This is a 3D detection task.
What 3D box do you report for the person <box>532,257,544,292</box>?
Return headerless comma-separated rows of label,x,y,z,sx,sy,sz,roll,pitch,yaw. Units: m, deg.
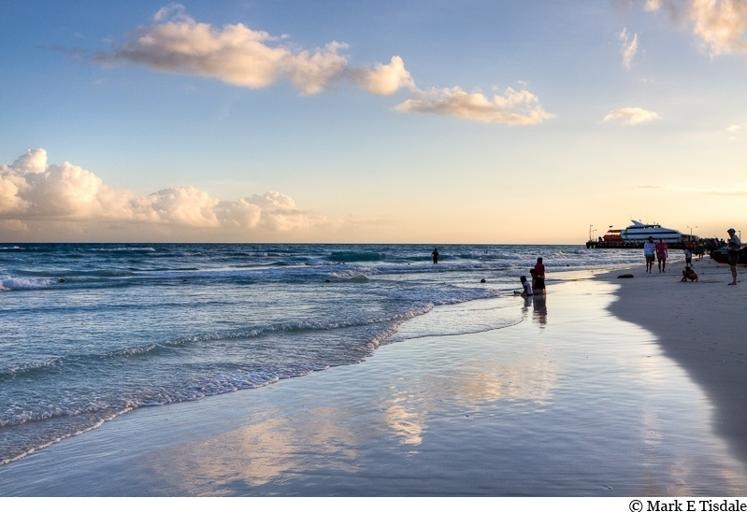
person,6.505,0.710,24.011,0.488,1.254,1.127,-2,7,10
